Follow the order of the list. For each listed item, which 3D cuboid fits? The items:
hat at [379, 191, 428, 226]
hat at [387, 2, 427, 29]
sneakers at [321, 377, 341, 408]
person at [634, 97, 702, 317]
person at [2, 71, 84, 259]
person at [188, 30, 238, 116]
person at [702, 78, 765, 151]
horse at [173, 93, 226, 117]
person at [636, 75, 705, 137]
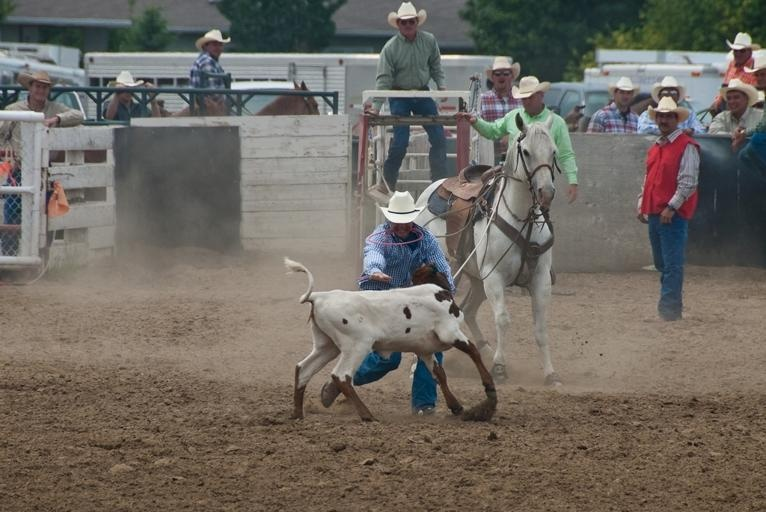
[{"bbox_3d":[0.259,-0.681,16.527,0.670,0.332,0.815,1,12,12],"label":"hat"},{"bbox_3d":[0.389,-4.265,21.726,0.600,0.266,0.710,-3,-7,0],"label":"hat"},{"bbox_3d":[-0.715,1.786,16.830,0.270,0.435,0.171,14,-5,3],"label":"sneakers"},{"bbox_3d":[4.441,-0.717,19.567,0.895,3.455,0.533,6,11,35],"label":"person"},{"bbox_3d":[-6.024,-1.606,21.440,1.091,2.984,1.573,3,9,20],"label":"person"},{"bbox_3d":[-3.342,-3.537,24.344,0.786,1.615,1.487,-2,8,-9],"label":"person"},{"bbox_3d":[5.986,-2.468,21.544,0.899,0.881,1.170,-2,0,24],"label":"person"},{"bbox_3d":[-3.470,-2.889,24.429,0.863,0.279,0.601,-1,5,-15],"label":"horse"},{"bbox_3d":[5.185,-2.722,22.560,1.151,0.853,1.791,-2,7,1],"label":"person"}]
